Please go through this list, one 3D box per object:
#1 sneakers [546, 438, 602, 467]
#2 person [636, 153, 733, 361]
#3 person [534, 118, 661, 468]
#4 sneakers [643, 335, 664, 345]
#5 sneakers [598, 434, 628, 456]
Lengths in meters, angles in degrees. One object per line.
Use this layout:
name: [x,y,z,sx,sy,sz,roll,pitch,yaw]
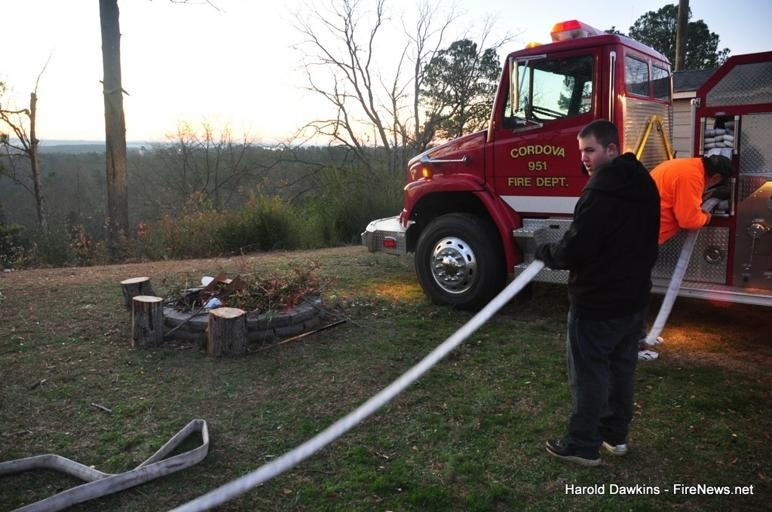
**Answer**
sneakers: [1.696,1.762,5.045,0.487,0.191,0.198,7,4,42]
person: [3.510,0.022,6.961,1.045,2.639,0.950,12,21,18]
person: [1.914,0.494,4.874,0.873,2.746,0.402,-2,11,-13]
sneakers: [3.320,1.049,6.817,0.149,0.054,0.209,-5,0,16]
sneakers: [2.121,1.728,5.139,0.131,0.136,0.300,-3,12,-15]
